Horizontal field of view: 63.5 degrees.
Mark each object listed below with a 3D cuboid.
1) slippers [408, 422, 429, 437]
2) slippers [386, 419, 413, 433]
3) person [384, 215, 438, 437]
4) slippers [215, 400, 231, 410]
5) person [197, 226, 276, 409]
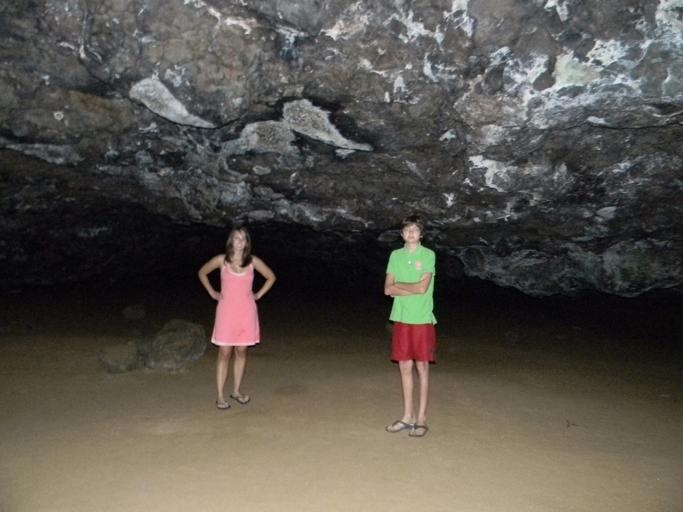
[{"bbox_3d":[0.755,1.682,5.397,0.193,0.093,0.175,2,10,7],"label":"slippers"},{"bbox_3d":[0.578,1.676,5.466,0.199,0.063,0.123,3,-2,-4],"label":"slippers"},{"bbox_3d":[0.673,0.779,5.514,0.499,1.841,0.660,3,10,9],"label":"person"},{"bbox_3d":[-1.252,1.567,5.893,0.164,0.072,0.159,-5,12,-30],"label":"slippers"},{"bbox_3d":[-1.116,0.644,6.001,0.676,1.877,0.569,-2,10,-14],"label":"person"}]
